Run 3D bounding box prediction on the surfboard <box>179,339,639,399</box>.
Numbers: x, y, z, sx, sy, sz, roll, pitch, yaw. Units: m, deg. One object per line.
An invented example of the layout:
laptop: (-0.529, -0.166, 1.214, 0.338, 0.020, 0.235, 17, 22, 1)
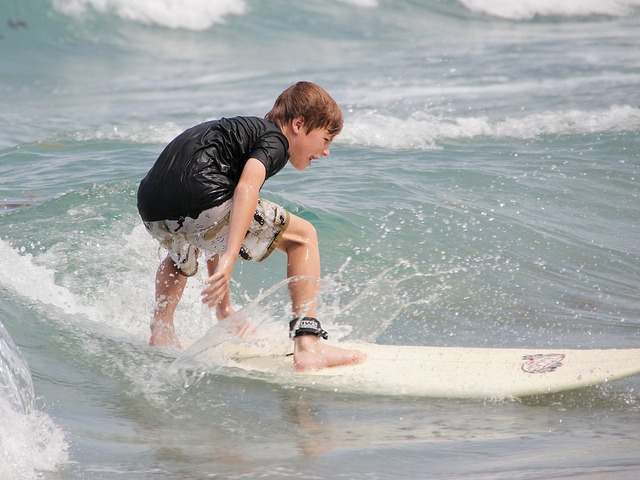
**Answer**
surfboard: (0.696, 1.154, 7.866, 4.586, 0.192, 0.494, 2, 12, 2)
